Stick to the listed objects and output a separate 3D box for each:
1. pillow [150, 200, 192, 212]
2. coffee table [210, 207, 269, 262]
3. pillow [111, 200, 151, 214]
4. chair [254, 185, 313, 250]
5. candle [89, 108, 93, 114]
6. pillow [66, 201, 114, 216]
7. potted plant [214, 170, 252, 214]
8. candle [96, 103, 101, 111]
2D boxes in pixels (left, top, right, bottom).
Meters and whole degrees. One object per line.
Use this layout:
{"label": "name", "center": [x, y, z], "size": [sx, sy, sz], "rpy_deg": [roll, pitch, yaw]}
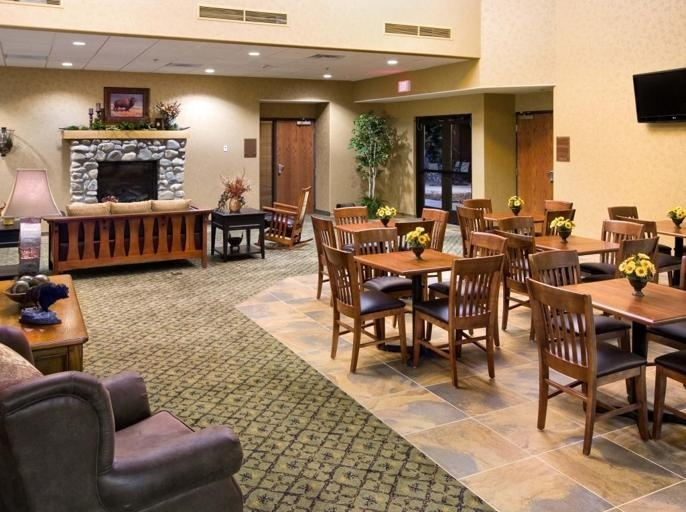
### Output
{"label": "pillow", "center": [-3.089, -0.944, 8.694], "size": [0.858, 0.195, 0.399], "rpy_deg": [-3, 17, -19]}
{"label": "coffee table", "center": [-2.165, -0.520, 9.726], "size": [1.399, 1.014, 1.127], "rpy_deg": [-4, 11, -29]}
{"label": "pillow", "center": [-3.536, -0.802, 8.141], "size": [0.547, 0.160, 0.492], "rpy_deg": [-5, -5, -22]}
{"label": "chair", "center": [-1.310, -0.840, 10.722], "size": [1.383, 1.205, 1.406], "rpy_deg": [13, 18, 38]}
{"label": "candle", "center": [-5.927, -3.415, 11.512], "size": [0.108, 0.148, 0.213], "rpy_deg": [-7, 15, -22]}
{"label": "pillow", "center": [-4.136, -0.766, 8.005], "size": [0.785, 0.185, 0.691], "rpy_deg": [-2, -1, -11]}
{"label": "potted plant", "center": [-2.182, -1.186, 9.604], "size": [0.644, 0.605, 0.579], "rpy_deg": [3, -7, -14]}
{"label": "candle", "center": [-5.801, -3.535, 11.593], "size": [0.103, 0.213, 0.176], "rpy_deg": [-7, 16, -21]}
